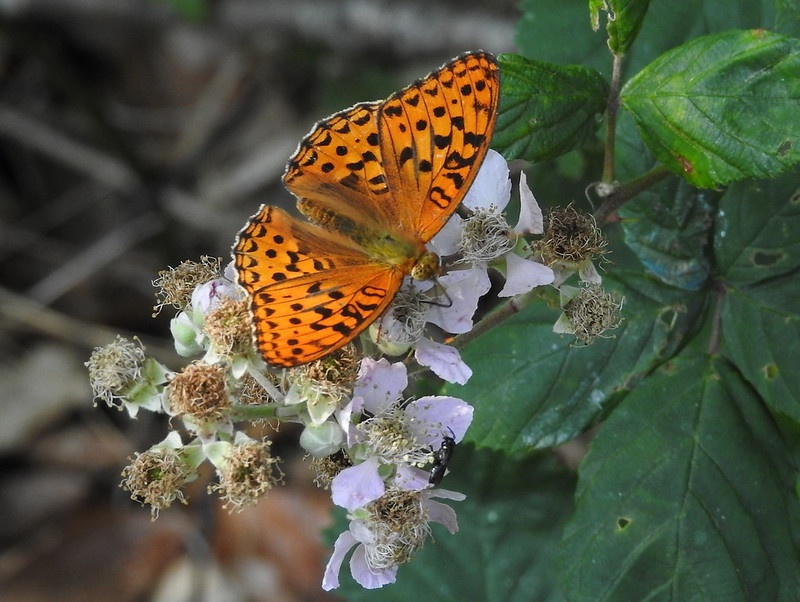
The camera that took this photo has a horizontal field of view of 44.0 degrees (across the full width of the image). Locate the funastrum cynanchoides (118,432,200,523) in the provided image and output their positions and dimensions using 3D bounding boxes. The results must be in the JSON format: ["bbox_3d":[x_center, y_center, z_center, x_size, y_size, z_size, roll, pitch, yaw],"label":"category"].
[{"bbox_3d":[-0.765,0.558,3.118,0.267,0.120,0.292,-4,25,-10],"label":"funastrum cynanchoides"}]

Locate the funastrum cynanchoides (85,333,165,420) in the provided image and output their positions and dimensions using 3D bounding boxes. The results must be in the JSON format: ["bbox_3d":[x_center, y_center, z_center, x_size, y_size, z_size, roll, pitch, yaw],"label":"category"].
[{"bbox_3d":[-0.875,0.223,3.199,0.232,0.100,0.228,33,86,42],"label":"funastrum cynanchoides"}]

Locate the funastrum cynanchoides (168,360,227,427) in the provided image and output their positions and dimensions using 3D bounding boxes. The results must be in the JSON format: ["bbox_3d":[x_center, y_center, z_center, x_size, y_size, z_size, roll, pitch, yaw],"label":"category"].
[{"bbox_3d":[-0.640,0.290,3.077,0.188,0.104,0.183,-9,65,-15],"label":"funastrum cynanchoides"}]

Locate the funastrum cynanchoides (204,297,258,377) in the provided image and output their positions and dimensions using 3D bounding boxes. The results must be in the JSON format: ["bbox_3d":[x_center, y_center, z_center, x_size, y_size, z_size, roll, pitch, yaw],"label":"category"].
[{"bbox_3d":[-0.524,0.113,3.053,0.206,0.122,0.215,-10,85,-5],"label":"funastrum cynanchoides"}]

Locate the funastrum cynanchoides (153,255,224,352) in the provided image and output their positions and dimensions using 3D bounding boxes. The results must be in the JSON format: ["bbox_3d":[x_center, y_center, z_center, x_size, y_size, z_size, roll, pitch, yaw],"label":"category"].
[{"bbox_3d":[-0.672,-0.030,3.359,0.166,0.330,0.371,-11,93,-43],"label":"funastrum cynanchoides"}]

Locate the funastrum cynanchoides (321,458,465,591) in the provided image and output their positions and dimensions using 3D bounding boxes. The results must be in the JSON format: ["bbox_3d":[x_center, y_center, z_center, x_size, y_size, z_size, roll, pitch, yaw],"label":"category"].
[{"bbox_3d":[-0.017,0.715,3.283,0.601,0.656,0.270,-3,70,2],"label":"funastrum cynanchoides"}]

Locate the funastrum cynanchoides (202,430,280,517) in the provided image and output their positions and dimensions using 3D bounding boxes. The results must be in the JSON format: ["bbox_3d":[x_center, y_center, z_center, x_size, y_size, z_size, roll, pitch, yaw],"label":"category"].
[{"bbox_3d":[-0.478,0.525,3.104,0.111,0.257,0.245,37,25,-34],"label":"funastrum cynanchoides"}]
